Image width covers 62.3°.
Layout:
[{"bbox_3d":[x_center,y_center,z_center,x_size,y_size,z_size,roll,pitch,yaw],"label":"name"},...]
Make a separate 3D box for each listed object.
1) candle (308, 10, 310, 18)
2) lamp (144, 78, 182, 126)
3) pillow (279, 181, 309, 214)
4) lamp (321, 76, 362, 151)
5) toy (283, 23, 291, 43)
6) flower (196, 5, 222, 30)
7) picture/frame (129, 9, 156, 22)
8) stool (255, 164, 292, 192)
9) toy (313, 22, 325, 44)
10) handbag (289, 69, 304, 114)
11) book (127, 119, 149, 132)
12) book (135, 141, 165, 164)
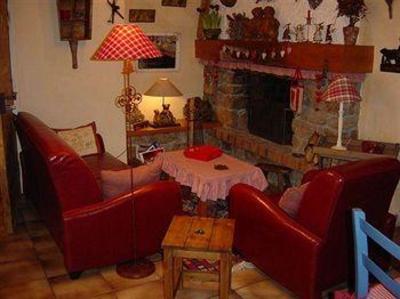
[{"bbox_3d":[1.330,-1.653,4.027,0.034,0.105,0.120,2,16,17],"label":"candle"},{"bbox_3d":[-0.619,-0.842,5.620,0.698,0.907,0.737,1,12,0],"label":"lamp"},{"bbox_3d":[0.771,0.431,2.804,0.093,0.220,0.298,-8,-12,-5],"label":"pillow"},{"bbox_3d":[1.497,-0.420,3.605,0.378,0.763,0.446,-1,15,8],"label":"lamp"},{"bbox_3d":[1.142,-1.540,4.330,0.101,0.217,0.118,1,15,15],"label":"toy"},{"bbox_3d":[0.140,-2.211,5.510,0.423,0.422,0.409,0,15,11],"label":"flower"},{"bbox_3d":[-0.931,-2.164,5.355,0.437,0.206,0.059,-10,16,-24],"label":"picture/frame"},{"bbox_3d":[0.975,0.331,4.362,0.413,0.499,0.370,5,15,23],"label":"stool"},{"bbox_3d":[1.408,-1.395,3.930,0.108,0.220,0.214,3,16,20],"label":"toy"},{"bbox_3d":[1.229,-0.722,4.200,0.157,0.575,0.452,1,15,15],"label":"handbag"},{"bbox_3d":[-0.973,-0.395,5.340,0.361,0.092,0.364,9,16,37],"label":"book"},{"bbox_3d":[-0.728,0.041,4.800,0.302,0.183,0.409,-17,9,-4],"label":"book"}]
